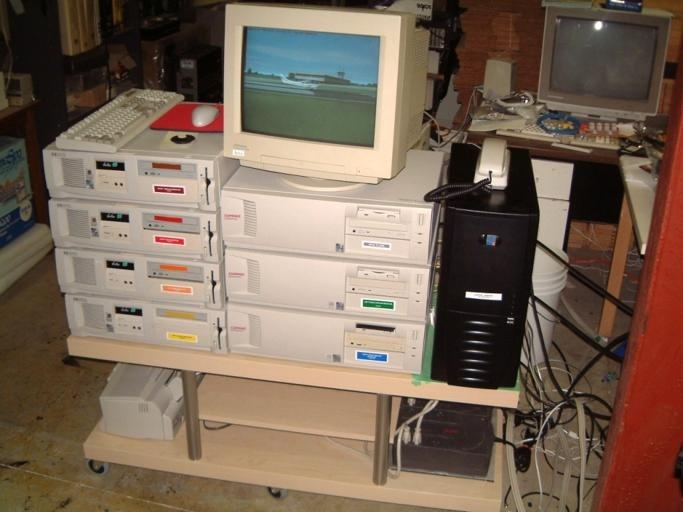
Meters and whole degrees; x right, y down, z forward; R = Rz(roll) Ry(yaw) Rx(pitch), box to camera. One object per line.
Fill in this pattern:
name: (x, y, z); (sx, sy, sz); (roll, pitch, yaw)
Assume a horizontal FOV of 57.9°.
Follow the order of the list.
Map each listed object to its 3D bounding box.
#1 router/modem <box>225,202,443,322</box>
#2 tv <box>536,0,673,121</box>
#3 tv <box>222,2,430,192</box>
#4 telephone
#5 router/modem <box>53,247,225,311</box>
router/modem: (-0.024, 0.092, 2.045); (0.505, 0.164, 0.451); (5, 17, 11)
tv: (1.539, -1.156, 3.769); (0.735, 0.635, 0.695); (7, 23, 17)
tv: (-0.046, -0.539, 2.164); (0.726, 0.612, 0.535); (7, 33, 12)
telephone: (0.438, -0.309, 1.970); (0.166, 0.095, 0.291); (6, 38, 24)
router/modem: (-0.696, 0.073, 2.090); (0.334, 0.111, 0.319); (6, 15, 8)
